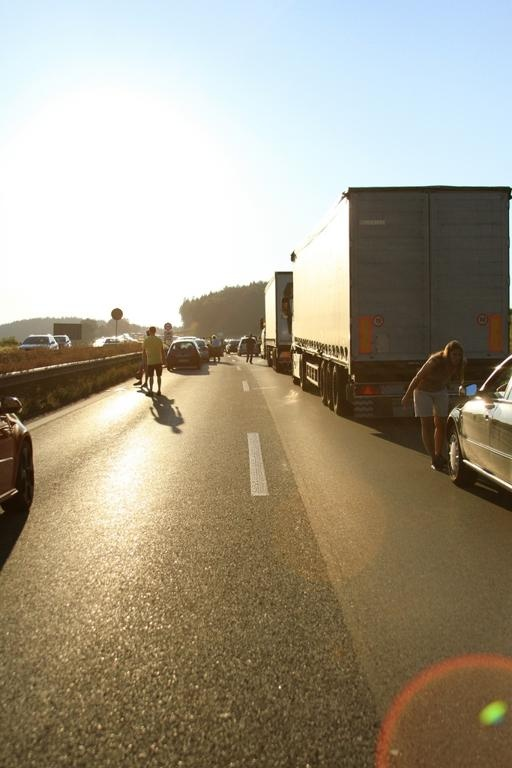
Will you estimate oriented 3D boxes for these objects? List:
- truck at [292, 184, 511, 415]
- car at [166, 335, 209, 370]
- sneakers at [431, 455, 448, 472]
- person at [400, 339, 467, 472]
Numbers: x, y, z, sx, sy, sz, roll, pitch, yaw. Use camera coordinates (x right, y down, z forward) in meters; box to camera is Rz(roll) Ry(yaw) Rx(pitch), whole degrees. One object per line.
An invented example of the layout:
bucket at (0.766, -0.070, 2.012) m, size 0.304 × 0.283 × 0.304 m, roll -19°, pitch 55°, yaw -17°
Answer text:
truck at (3.314, -2.480, 14.858) m, size 2.204 × 5.410 × 8.314 m, roll -1°, pitch 7°, yaw -3°
car at (-4.614, -1.912, 33.718) m, size 2.445 × 1.997 × 1.574 m, roll -1°, pitch -2°, yaw 28°
sneakers at (2.747, 1.199, 7.769) m, size 0.107 × 0.134 × 0.371 m, roll -2°, pitch -2°, yaw -1°
person at (2.934, 0.291, 8.523) m, size 1.023 × 3.137 × 0.934 m, roll -5°, pitch 6°, yaw -14°
